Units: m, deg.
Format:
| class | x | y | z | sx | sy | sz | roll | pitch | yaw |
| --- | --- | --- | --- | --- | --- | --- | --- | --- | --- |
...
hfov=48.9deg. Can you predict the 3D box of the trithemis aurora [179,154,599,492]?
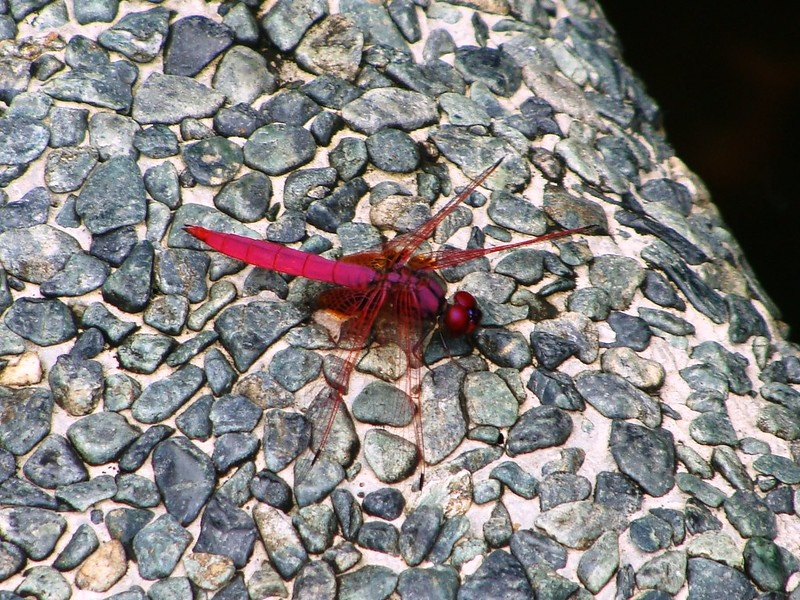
| class | x | y | z | sx | sy | sz | roll | pitch | yaw |
| --- | --- | --- | --- | --- | --- | --- | --- | --- | --- |
| trithemis aurora | -0.170 | -0.095 | 3.855 | 1.202 | 0.539 | 1.373 | 30 | 61 | -1 |
